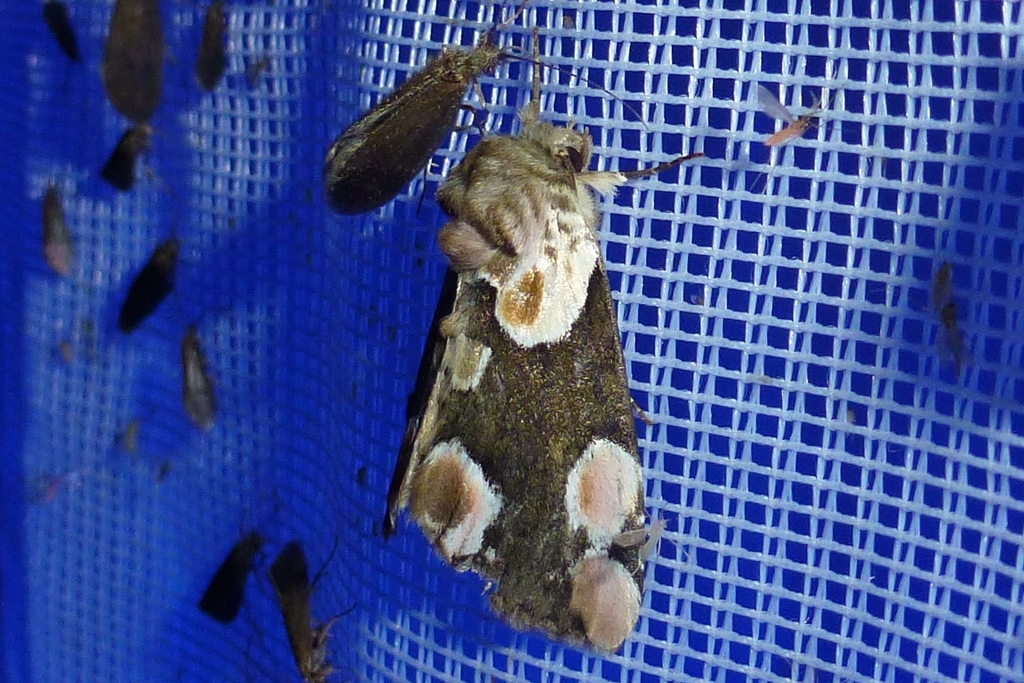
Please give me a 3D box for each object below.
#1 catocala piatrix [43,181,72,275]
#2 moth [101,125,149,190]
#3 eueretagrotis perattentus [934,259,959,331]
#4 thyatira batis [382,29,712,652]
[{"bbox_3d":[-0.924,-0.229,3.145,0.051,0.193,0.025,1,16,12],"label":"catocala piatrix"},{"bbox_3d":[-0.778,-0.367,3.096,0.072,0.148,0.033,27,13,-7],"label":"moth"},{"bbox_3d":[0.800,-0.085,2.828,0.035,0.129,0.036,-1,-8,13],"label":"eueretagrotis perattentus"},{"bbox_3d":[0.088,-0.003,2.818,0.613,0.849,0.477,24,26,15],"label":"thyatira batis"}]
